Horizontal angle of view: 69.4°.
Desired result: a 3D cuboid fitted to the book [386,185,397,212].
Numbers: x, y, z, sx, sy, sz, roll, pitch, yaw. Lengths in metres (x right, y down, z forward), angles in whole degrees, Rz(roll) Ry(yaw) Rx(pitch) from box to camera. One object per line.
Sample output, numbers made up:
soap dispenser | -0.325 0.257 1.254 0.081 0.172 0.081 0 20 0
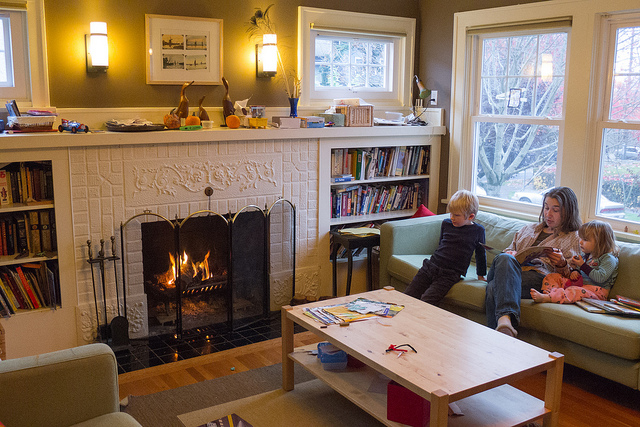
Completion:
book | 0.740 -0.156 4.789 0.055 0.219 0.162 22 16 35

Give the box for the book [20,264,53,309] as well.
book | -2.128 0.540 3.578 0.085 0.304 0.308 -18 11 -25

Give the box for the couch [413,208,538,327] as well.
couch | 1.323 0.393 4.038 0.892 0.821 1.231 -4 15 -35

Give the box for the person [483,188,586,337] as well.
person | 1.582 0.363 3.539 1.110 1.107 0.584 4 6 -44

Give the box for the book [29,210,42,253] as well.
book | -2.204 0.126 3.557 0.121 0.307 0.332 -4 2 -29

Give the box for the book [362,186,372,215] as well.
book | 0.475 -0.123 4.665 0.054 0.214 0.221 11 20 12

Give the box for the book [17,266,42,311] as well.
book | -2.207 0.565 3.496 0.154 0.316 0.052 6 17 26

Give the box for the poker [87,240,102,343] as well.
poker | -1.797 0.616 3.635 0.078 0.828 0.102 -4 15 -7

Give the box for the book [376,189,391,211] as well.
book | 0.657 -0.136 4.752 0.046 0.184 0.188 18 10 23

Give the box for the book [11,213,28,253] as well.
book | -2.311 0.158 3.534 0.108 0.269 0.303 -3 5 -40
